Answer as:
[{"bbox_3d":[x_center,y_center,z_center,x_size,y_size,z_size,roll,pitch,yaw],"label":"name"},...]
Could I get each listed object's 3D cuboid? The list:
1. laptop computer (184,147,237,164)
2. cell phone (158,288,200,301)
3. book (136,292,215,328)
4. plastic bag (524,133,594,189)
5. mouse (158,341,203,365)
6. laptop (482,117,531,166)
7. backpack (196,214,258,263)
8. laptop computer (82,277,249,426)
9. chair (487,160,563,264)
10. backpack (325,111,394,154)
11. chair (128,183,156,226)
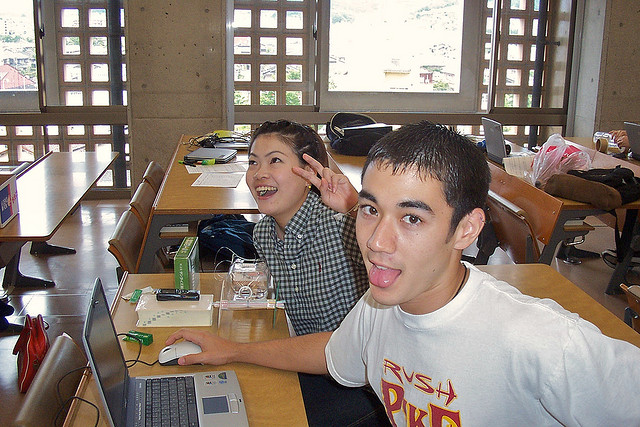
[{"bbox_3d":[-1.043,-0.559,4.253,0.429,0.141,0.424,-2,11,-1],"label":"laptop computer"},{"bbox_3d":[-0.610,0.355,1.925,0.106,0.025,0.076,3,5,-6],"label":"cell phone"},{"bbox_3d":[-0.611,0.417,1.896,0.222,0.059,0.156,0,16,-4],"label":"book"},{"bbox_3d":[1.860,-0.426,3.596,0.492,0.416,0.196,-33,25,-14],"label":"plastic bag"},{"bbox_3d":[-0.530,0.518,1.667,0.143,0.051,0.078,-1,16,-17],"label":"mouse"},{"bbox_3d":[1.788,-0.723,4.127,0.407,0.362,0.540,-13,17,-2],"label":"laptop"},{"bbox_3d":[-0.715,0.210,3.554,0.614,0.210,0.709,2,15,1],"label":"backpack"},{"bbox_3d":[-0.416,0.475,1.463,0.521,0.377,0.475,-2,18,-9],"label":"laptop computer"},{"bbox_3d":[1.552,-0.027,3.333,0.257,0.414,0.778,2,18,-12],"label":"chair"},{"bbox_3d":[0.364,-0.822,4.476,0.717,0.343,0.941,-1,19,-8],"label":"backpack"},{"bbox_3d":[-1.306,-0.061,3.269,0.154,0.191,0.472,-1,36,-7],"label":"chair"}]
